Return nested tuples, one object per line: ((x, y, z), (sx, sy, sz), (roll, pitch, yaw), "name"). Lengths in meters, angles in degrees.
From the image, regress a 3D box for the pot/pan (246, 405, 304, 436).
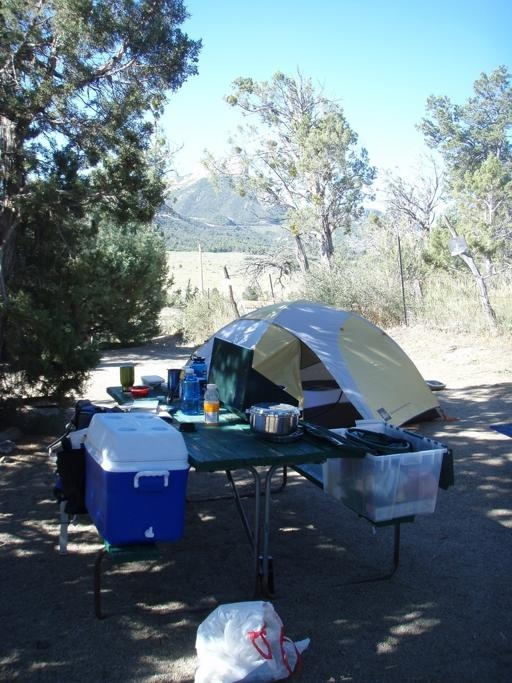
((0.118, 0.396, 3.054), (0.267, 0.140, 0.251), (0, 8, -27), "pot/pan")

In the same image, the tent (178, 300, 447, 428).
((0.915, 0.227, 6.436), (2.177, 0.840, 1.852), (0, 3, -12), "tent")
